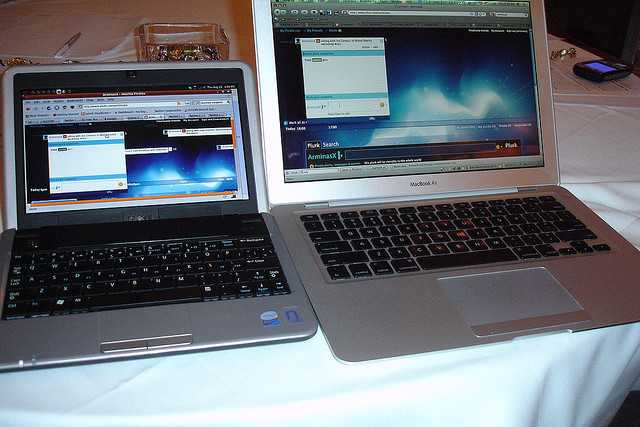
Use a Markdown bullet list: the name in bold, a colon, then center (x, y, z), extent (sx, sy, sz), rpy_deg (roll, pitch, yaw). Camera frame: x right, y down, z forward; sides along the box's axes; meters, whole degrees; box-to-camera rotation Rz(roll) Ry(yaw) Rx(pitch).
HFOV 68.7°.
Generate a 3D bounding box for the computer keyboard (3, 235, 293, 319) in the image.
- **computer keyboard**: center (-0.279, 0.100, 0.723), extent (0.376, 0.034, 0.110), rpy_deg (-3, 45, -13)

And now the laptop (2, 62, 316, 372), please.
- **laptop**: center (-0.309, 0.061, 0.916), extent (0.607, 0.325, 0.484), rpy_deg (-6, 52, -16)
